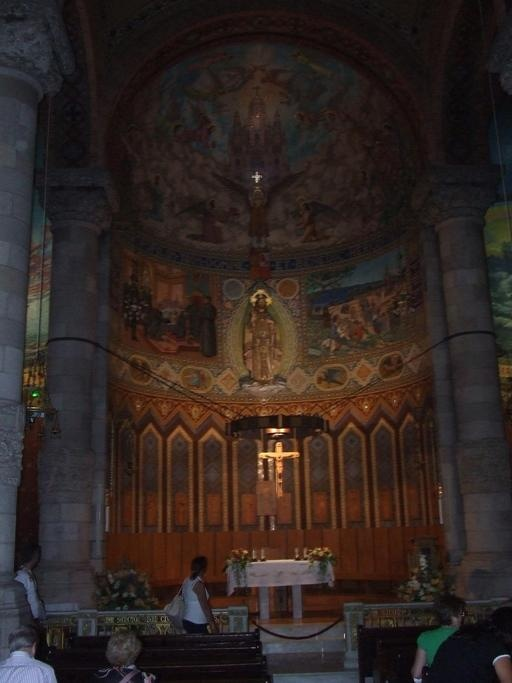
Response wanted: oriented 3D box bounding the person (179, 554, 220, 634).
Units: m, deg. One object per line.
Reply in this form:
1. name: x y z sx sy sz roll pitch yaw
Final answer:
1. person: -0.641 2.827 9.302 0.397 0.823 0.587 -2 -15 -5

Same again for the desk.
1. desk: 0.367 4.066 14.755 1.905 0.785 1.151 1 -37 -1

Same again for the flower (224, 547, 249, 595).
1. flower: -0.317 3.997 14.426 0.433 0.750 0.648 -2 -15 -5

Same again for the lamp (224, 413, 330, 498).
1. lamp: 0.425 2.191 15.713 1.940 1.225 1.921 -15 -21 39

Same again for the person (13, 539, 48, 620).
1. person: -2.639 2.853 9.826 0.327 0.918 1.029 0 -15 -14
